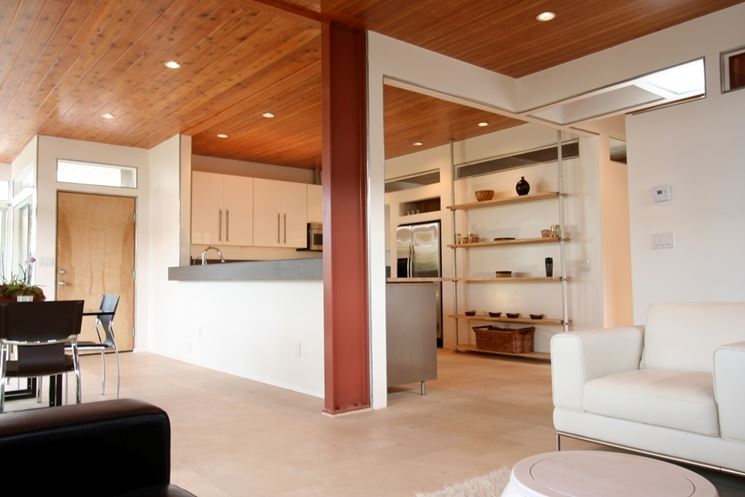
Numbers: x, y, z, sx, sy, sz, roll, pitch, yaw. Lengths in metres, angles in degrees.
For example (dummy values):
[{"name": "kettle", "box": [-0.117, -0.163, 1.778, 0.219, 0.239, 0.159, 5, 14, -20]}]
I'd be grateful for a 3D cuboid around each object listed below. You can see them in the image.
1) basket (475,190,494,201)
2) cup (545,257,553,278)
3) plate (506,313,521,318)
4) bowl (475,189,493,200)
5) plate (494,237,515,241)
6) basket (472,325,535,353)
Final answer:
[{"name": "basket", "box": [1.551, -0.744, 7.007, 0.185, 0.096, 0.177, -2, -2, -10]}, {"name": "cup", "box": [2.289, 0.241, 6.500, 0.112, 0.244, 0.239, -1, -1, 19]}, {"name": "plate", "box": [1.900, 0.907, 6.789, 0.184, 0.057, 0.206, -1, -1, 16]}, {"name": "bowl", "box": [1.554, -0.743, 7.005, 0.178, 0.092, 0.170, -2, -2, 0]}, {"name": "plate", "box": [1.801, -0.124, 6.847, 0.284, 0.053, 0.253, -1, -1, 13]}, {"name": "basket", "box": [1.746, 1.227, 6.748, 0.405, 0.248, 0.547, 4, -4, -41]}]
